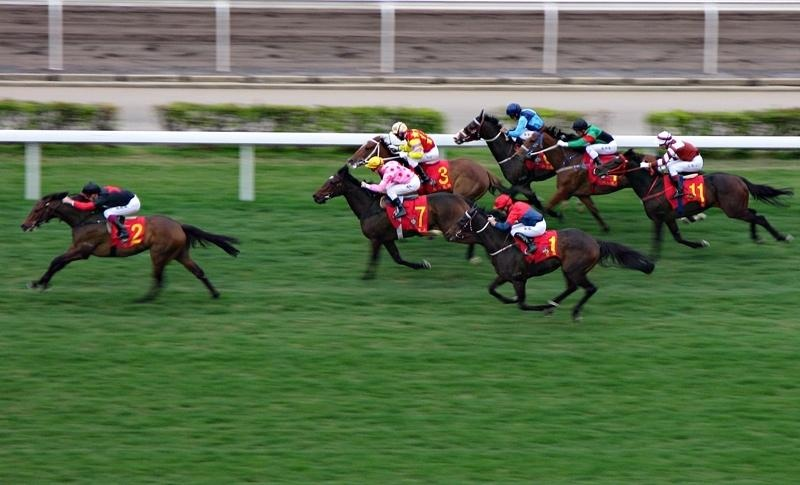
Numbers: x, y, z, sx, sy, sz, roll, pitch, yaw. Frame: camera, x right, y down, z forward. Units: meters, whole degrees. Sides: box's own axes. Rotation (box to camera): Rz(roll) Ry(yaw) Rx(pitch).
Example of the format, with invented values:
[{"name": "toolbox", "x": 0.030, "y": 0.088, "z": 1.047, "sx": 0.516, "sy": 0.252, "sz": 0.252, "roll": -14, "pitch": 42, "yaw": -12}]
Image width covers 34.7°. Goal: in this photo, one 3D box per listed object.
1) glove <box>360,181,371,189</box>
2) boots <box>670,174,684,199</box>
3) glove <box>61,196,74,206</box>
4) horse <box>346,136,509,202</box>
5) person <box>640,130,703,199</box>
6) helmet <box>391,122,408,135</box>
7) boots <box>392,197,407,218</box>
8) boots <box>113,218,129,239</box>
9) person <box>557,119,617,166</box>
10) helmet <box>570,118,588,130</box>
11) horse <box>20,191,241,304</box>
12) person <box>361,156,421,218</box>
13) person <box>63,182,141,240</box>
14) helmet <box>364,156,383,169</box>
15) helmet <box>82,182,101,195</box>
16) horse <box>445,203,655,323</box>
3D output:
[{"name": "glove", "x": -0.478, "y": -0.739, "z": 16.588, "sx": 0.078, "sy": 0.096, "sz": 0.116, "roll": -19, "pitch": 22, "yaw": 2}, {"name": "boots", "x": 3.653, "y": -0.741, "z": 16.928, "sx": 0.163, "sy": 0.301, "sz": 0.102, "roll": -2, "pitch": 8, "yaw": 7}, {"name": "glove", "x": -4.113, "y": -0.511, "z": 15.856, "sx": 0.132, "sy": 0.034, "sz": 0.127, "roll": 2, "pitch": 25, "yaw": -21}, {"name": "horse", "x": 0.288, "y": -0.801, "z": 17.158, "sx": 2.686, "sy": 0.698, "sz": 0.494, "roll": 7, "pitch": 4, "yaw": -29}, {"name": "person", "x": 3.598, "y": -1.029, "z": 17.027, "sx": 0.780, "sy": 0.858, "sz": 0.372, "roll": -1, "pitch": 8, "yaw": 9}, {"name": "helmet", "x": -0.020, "y": -1.522, "z": 17.104, "sx": 0.267, "sy": 0.165, "sz": 0.256, "roll": -10, "pitch": 0, "yaw": 5}, {"name": "boots", "x": -0.022, "y": -0.443, "z": 16.454, "sx": 0.130, "sy": 0.242, "sz": 0.096, "roll": -5, "pitch": 8, "yaw": -16}, {"name": "boots", "x": -3.445, "y": -0.179, "z": 15.874, "sx": 0.162, "sy": 0.278, "sz": 0.135, "roll": 2, "pitch": 9, "yaw": 31}, {"name": "person", "x": 2.769, "y": -1.345, "z": 17.471, "sx": 0.595, "sy": 0.467, "sz": 0.939, "roll": -15, "pitch": 15, "yaw": -41}, {"name": "helmet", "x": 2.447, "y": -1.596, "z": 17.396, "sx": 0.204, "sy": 0.149, "sz": 0.196, "roll": -1, "pitch": 7, "yaw": 6}, {"name": "horse", "x": -3.442, "y": 0.063, "z": 16.212, "sx": 0.576, "sy": 1.005, "sz": 3.010, "roll": -20, "pitch": -17, "yaw": 42}, {"name": "person", "x": -0.131, "y": -0.717, "z": 16.598, "sx": 0.687, "sy": 0.783, "sz": 0.405, "roll": 0, "pitch": 8, "yaw": 16}, {"name": "person", "x": -3.683, "y": -0.430, "z": 16.071, "sx": 1.274, "sy": 0.543, "sz": 0.514, "roll": 0, "pitch": 4, "yaw": 26}, {"name": "helmet", "x": -0.333, "y": -1.040, "z": 16.658, "sx": 0.188, "sy": 0.083, "sz": 0.231, "roll": 5, "pitch": 21, "yaw": 37}, {"name": "helmet", "x": -3.821, "y": -0.662, "z": 15.902, "sx": 0.214, "sy": 0.149, "sz": 0.200, "roll": -1, "pitch": 7, "yaw": 9}, {"name": "horse", "x": 1.795, "y": 0.280, "z": 16.190, "sx": 3.507, "sy": 1.191, "sz": 0.716, "roll": 4, "pitch": 1, "yaw": -34}]
